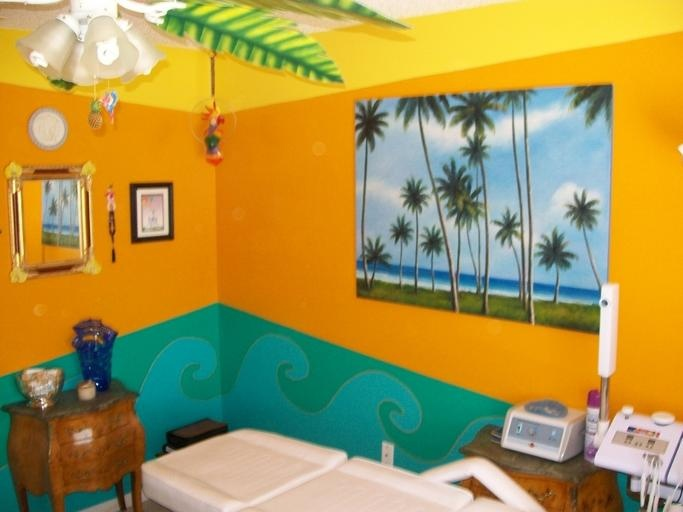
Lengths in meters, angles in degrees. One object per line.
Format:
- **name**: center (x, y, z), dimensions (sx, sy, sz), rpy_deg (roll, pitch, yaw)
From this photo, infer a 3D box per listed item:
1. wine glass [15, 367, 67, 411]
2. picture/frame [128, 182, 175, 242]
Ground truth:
- **wine glass**: center (-1.814, 0.792, 3.469), dimensions (0.214, 0.199, 0.217), rpy_deg (2, -2, -31)
- **picture/frame**: center (-1.407, -0.329, 4.196), dimensions (0.035, 0.492, 0.370), rpy_deg (8, 12, 42)
